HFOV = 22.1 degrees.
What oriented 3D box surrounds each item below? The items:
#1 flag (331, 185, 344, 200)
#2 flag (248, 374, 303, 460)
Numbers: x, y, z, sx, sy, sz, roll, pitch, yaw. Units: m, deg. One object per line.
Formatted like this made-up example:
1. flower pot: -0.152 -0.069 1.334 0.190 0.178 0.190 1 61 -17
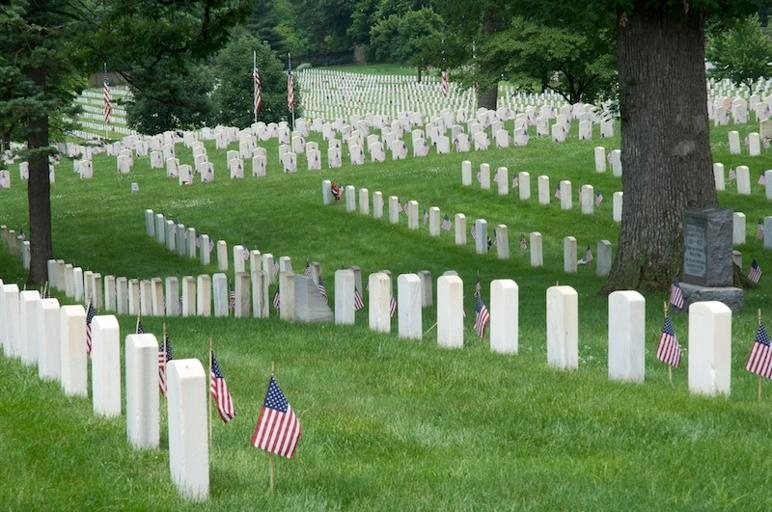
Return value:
1. flag: -1.728 -2.182 68.045 0.312 0.545 0.281 3 -2 -4
2. flag: -2.792 4.161 49.570 1.994 2.975 0.253 4 8 -2
